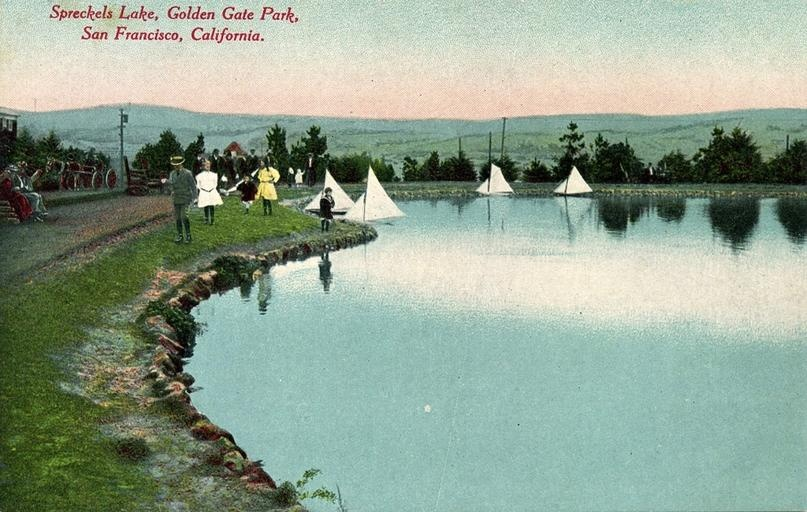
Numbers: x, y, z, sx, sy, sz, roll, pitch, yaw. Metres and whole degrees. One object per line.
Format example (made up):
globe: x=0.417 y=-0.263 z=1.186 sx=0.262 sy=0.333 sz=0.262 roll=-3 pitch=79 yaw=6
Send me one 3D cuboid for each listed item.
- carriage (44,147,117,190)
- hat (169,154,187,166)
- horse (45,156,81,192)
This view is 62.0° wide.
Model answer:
carriage: x=-19.424 y=-4.867 z=40.547 sx=1.551 sy=1.749 sz=4.875 roll=-8 pitch=0 yaw=19
hat: x=-9.029 y=-3.785 z=26.827 sx=0.401 sy=0.395 sz=1.057 roll=-2 pitch=15 yaw=-14
horse: x=-19.648 y=-4.819 z=39.224 sx=0.614 sy=1.721 sz=2.582 roll=-4 pitch=2 yaw=24
